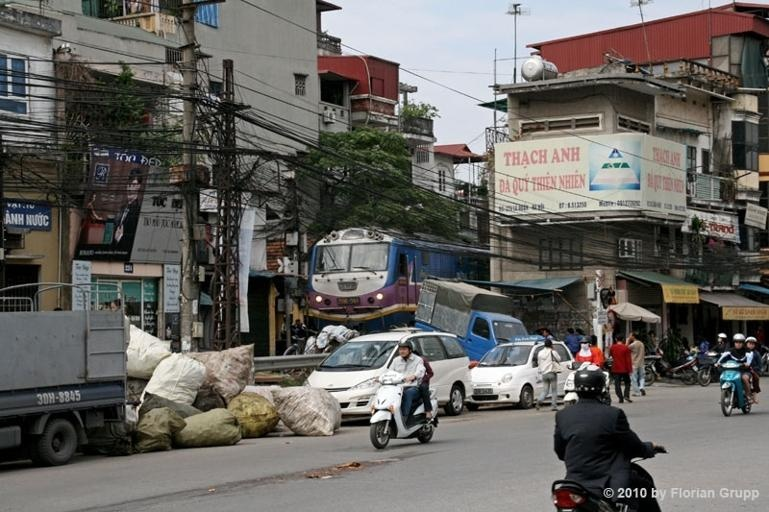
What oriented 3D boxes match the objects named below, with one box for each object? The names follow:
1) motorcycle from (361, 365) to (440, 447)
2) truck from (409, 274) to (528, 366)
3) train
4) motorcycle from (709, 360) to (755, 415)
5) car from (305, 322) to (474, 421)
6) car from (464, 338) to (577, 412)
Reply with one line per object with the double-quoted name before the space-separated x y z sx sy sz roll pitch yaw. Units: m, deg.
"motorcycle" 0.516 4.009 35.990 0.901 2.007 2.754 -2 -3 36
"truck" 2.846 2.309 50.312 4.144 2.663 2.459 13 10 27
"train" 1.404 1.404 58.740 3.511 4.630 13.293 -3 -5 25
"motorcycle" 10.638 3.922 40.418 0.877 1.569 2.616 -2 -6 31
"car" 0.155 3.680 41.459 2.931 2.588 6.171 -4 -4 30
"car" 4.583 3.883 44.304 1.855 1.746 3.613 -7 -9 36
